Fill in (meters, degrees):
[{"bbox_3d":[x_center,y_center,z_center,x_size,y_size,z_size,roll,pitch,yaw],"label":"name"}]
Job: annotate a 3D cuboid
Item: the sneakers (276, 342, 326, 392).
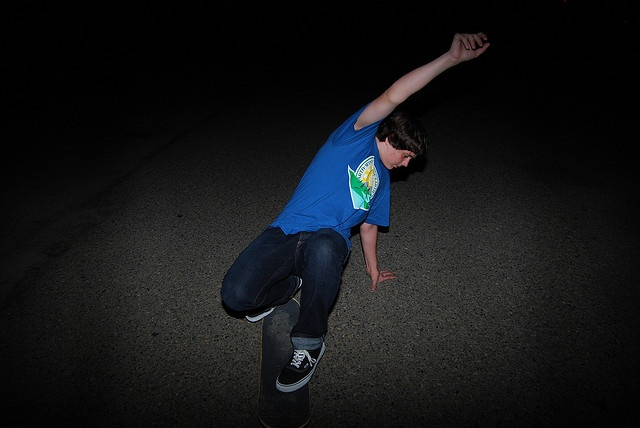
[{"bbox_3d":[-0.196,1.488,4.438,0.245,0.256,0.645,31,53,15],"label":"sneakers"}]
